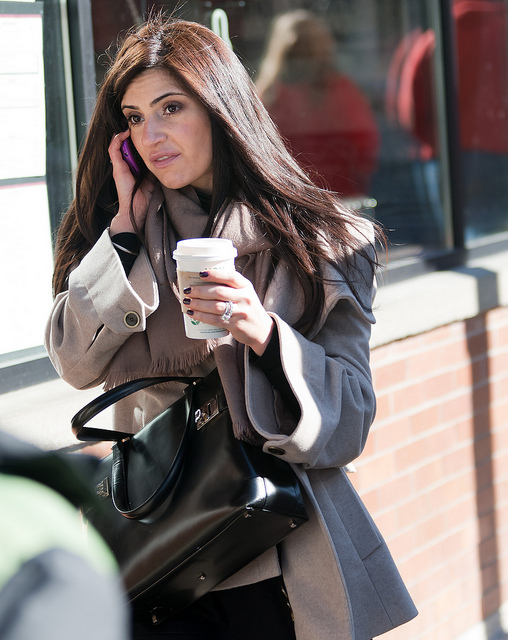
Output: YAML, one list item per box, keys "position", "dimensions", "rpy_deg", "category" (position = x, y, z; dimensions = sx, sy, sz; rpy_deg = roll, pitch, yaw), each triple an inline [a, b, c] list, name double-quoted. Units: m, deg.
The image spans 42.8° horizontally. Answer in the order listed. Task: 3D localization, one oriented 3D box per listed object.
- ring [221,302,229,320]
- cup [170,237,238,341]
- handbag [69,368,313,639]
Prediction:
- position: [-0.057, -0.018, 1.254]
  dimensions: [0.011, 0.022, 0.026]
  rpy_deg: [11, 80, -14]
  category: "ring"
- position: [-0.092, -0.062, 1.304]
  dimensions: [0.149, 0.159, 0.189]
  rpy_deg: [-61, 153, -67]
  category: "cup"
- position: [-0.092, 0.369, 1.250]
  dimensions: [0.200, 0.492, 0.424]
  rpy_deg: [25, 36, -44]
  category: "handbag"
